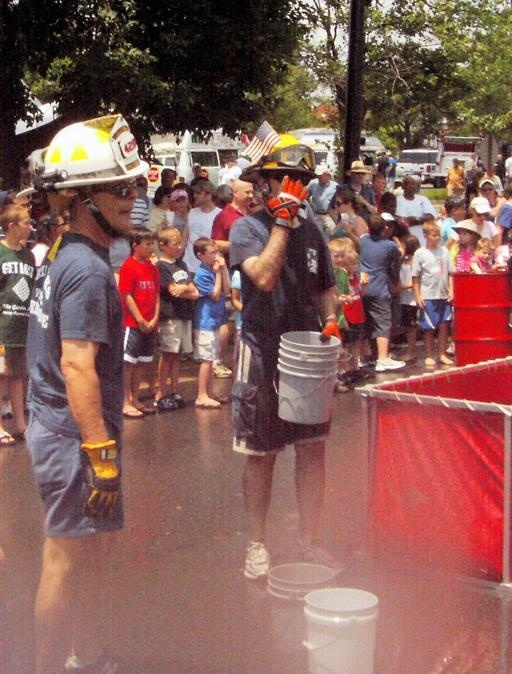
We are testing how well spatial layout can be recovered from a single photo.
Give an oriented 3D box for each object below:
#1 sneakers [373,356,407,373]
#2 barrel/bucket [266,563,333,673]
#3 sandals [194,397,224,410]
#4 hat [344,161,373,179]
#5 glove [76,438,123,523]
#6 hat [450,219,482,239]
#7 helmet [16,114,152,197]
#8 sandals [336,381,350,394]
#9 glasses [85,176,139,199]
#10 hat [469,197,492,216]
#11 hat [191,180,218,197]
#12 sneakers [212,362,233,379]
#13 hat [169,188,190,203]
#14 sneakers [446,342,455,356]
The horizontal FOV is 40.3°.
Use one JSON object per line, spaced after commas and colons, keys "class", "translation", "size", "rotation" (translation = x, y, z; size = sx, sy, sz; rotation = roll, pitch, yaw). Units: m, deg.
{"class": "sneakers", "translation": [1.556, 0.316, 8.024], "size": [0.400, 0.179, 0.144], "rotation": [-3, 9, -10]}
{"class": "barrel/bucket", "translation": [0.174, 1.073, 2.726], "size": [0.212, 0.232, 0.210], "rotation": [0, 2, 0]}
{"class": "sandals", "translation": [-0.445, 0.624, 6.520], "size": [0.229, 0.160, 0.104], "rotation": [-1, 6, 5]}
{"class": "hat", "translation": [1.438, -2.377, 9.701], "size": [0.285, 0.160, 0.311], "rotation": [2, -6, -1]}
{"class": "glove", "translation": [-0.438, 0.406, 1.975], "size": [0.107, 0.259, 0.195], "rotation": [-2, 5, -12]}
{"class": "hat", "translation": [2.607, -1.347, 8.500], "size": [0.293, 0.144, 0.384], "rotation": [7, -1, 30]}
{"class": "helmet", "translation": [-0.516, -0.482, 2.071], "size": [0.316, 0.139, 0.257], "rotation": [-12, 26, 12]}
{"class": "sandals", "translation": [0.898, 0.532, 7.255], "size": [0.067, 0.094, 0.214], "rotation": [-10, -9, -7]}
{"class": "glasses", "translation": [-0.432, -0.449, 2.085], "size": [0.131, 0.049, 0.099], "rotation": [-7, 8, -3]}
{"class": "hat", "translation": [2.898, -1.709, 9.054], "size": [0.202, 0.149, 0.290], "rotation": [-2, 9, -5]}
{"class": "hat", "translation": [-0.605, -1.796, 8.253], "size": [0.309, 0.158, 0.225], "rotation": [6, 5, -6]}
{"class": "sneakers", "translation": [-0.387, 0.378, 7.826], "size": [0.114, 0.109, 0.260], "rotation": [-6, 10, -30]}
{"class": "hat", "translation": [-0.977, -1.823, 8.865], "size": [0.211, 0.160, 0.297], "rotation": [-1, -6, -6]}
{"class": "sneakers", "translation": [2.429, 0.158, 8.741], "size": [0.154, 0.169, 0.153], "rotation": [1, 10, 14]}
